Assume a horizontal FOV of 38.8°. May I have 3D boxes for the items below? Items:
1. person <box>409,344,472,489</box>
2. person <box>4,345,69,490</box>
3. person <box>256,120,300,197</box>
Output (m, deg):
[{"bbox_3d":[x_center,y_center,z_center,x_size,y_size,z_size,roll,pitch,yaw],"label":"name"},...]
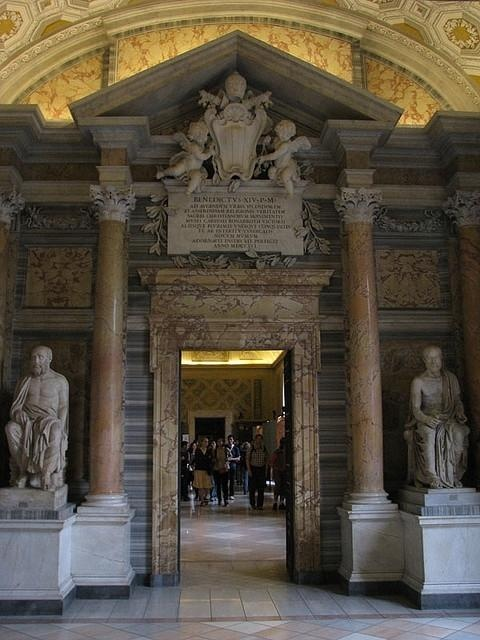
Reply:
[{"bbox_3d":[1.643,0.807,5.763,0.522,1.182,0.504,-3,-12,13],"label":"person"},{"bbox_3d":[-1.593,0.756,5.378,0.456,1.117,0.369,2,-12,-10],"label":"person"},{"bbox_3d":[0.350,-1.532,6.393,0.397,0.681,0.376,0,-12,1],"label":"person"}]
